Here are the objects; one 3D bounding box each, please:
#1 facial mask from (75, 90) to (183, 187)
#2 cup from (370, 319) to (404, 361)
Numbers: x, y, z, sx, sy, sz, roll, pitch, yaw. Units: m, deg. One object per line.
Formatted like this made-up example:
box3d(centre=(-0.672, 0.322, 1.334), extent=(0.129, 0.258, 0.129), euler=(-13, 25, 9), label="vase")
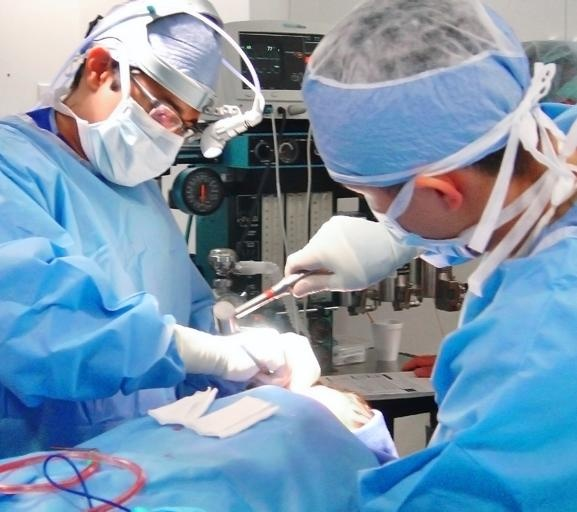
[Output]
box3d(centre=(-0.459, -0.319, 1.971), extent=(0.173, 0.225, 0.247), euler=(-28, 78, 4), label="facial mask")
box3d(centre=(0.412, 0.365, 2.938), extent=(0.210, 0.163, 0.177), euler=(-1, 3, -3), label="cup")
